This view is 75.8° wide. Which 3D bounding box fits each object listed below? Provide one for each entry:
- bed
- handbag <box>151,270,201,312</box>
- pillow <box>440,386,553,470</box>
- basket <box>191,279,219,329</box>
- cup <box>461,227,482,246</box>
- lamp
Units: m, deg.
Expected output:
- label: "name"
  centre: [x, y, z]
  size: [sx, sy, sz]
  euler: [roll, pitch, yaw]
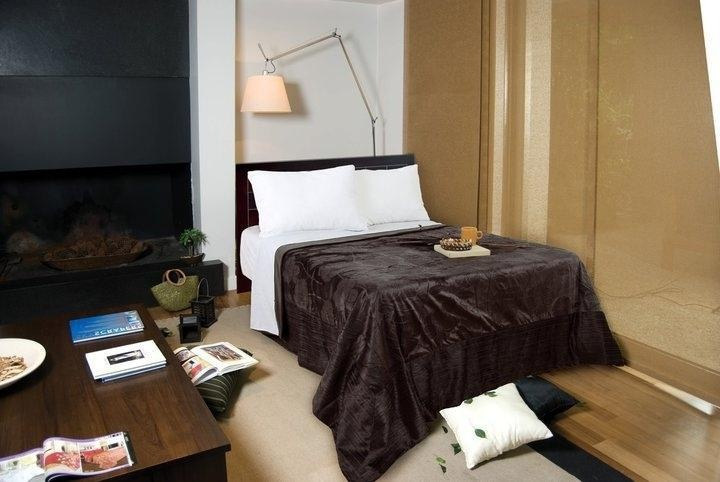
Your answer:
- label: "bed"
  centre: [0.219, 0.245, 2.811]
  size: [1.325, 0.820, 1.652]
  euler: [-7, 21, -24]
- label: "handbag"
  centre: [-1.517, 0.396, 3.787]
  size: [0.376, 0.330, 0.157]
  euler: [-13, 15, -42]
- label: "pillow"
  centre: [0.693, 0.964, 2.419]
  size: [0.504, 0.221, 0.284]
  euler: [-11, 11, -19]
- label: "basket"
  centre: [-1.225, 0.465, 3.596]
  size: [0.203, 0.361, 0.184]
  euler: [-5, 17, -28]
- label: "cup"
  centre: [0.781, -0.034, 3.205]
  size: [0.191, 0.155, 0.118]
  euler: [-3, 6, -22]
- label: "lamp"
  centre: [-0.353, -1.204, 4.360]
  size: [1.515, 1.445, 0.379]
  euler: [-6, 21, -26]
